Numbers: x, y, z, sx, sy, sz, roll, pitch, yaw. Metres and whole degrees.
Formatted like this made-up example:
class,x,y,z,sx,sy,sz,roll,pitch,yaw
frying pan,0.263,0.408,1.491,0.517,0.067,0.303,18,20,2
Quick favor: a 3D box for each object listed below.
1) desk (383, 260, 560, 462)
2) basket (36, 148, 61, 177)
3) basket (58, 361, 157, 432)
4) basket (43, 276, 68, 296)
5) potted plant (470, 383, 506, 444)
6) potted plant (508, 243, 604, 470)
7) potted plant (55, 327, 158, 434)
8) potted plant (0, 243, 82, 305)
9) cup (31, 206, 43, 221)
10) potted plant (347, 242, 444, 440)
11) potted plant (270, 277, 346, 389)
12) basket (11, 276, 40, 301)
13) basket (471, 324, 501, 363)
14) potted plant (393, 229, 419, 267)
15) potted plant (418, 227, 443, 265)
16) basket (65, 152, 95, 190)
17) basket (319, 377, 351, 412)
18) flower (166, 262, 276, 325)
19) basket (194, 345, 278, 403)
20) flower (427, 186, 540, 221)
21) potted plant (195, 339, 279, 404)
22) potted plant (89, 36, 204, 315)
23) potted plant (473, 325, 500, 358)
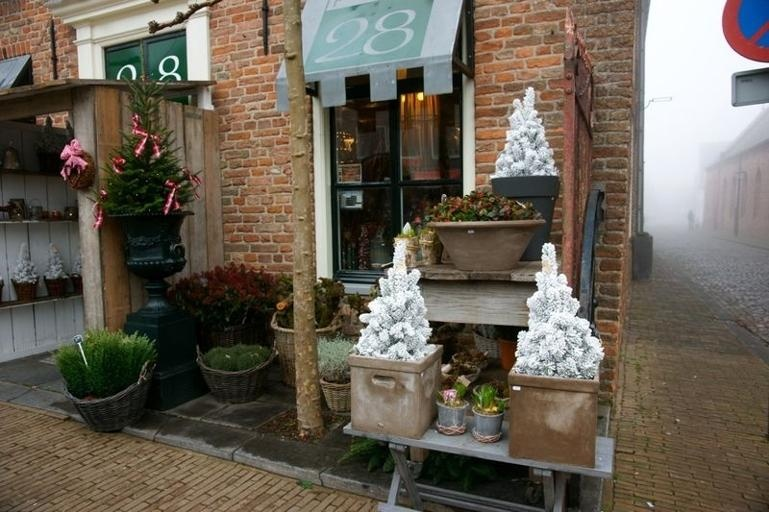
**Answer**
class,x,y,z,sx,sy,sz,roll,pitch,yaw
desk,0.907,0.875,5.576,1.841,1.907,1.423,0,-1,30
basket,-4.548,-1.268,7.873,0.320,0.371,0.355,2,2,-18
basket,-2.763,1.491,5.858,0.729,0.596,0.758,-6,-2,21
basket,-4.488,0.409,7.861,0.258,0.287,0.248,0,-4,1
potted plant,0.803,1.192,4.422,0.251,0.405,0.244,-1,7,8
potted plant,1.249,0.757,4.179,0.631,1.465,0.374,1,7,21
potted plant,-2.821,1.144,6.164,0.944,1.114,1.010,4,9,29
potted plant,-4.592,0.192,7.810,0.313,0.772,0.811,4,9,41
cup,-4.632,-0.574,7.667,0.176,0.192,0.177,0,1,0
potted plant,0.075,0.630,4.483,0.729,1.474,0.403,-1,7,4
potted plant,-0.749,0.811,6.876,0.956,1.005,1.151,1,-8,5
basket,-4.713,0.414,7.568,0.306,0.313,0.294,1,1,-22
basket,1.139,0.958,6.483,0.311,0.234,0.344,-2,3,-41
potted plant,0.251,-0.071,5.474,0.273,0.294,0.274,-1,1,34
potted plant,0.438,-0.103,5.502,0.300,0.436,0.291,2,9,11
basket,-3.281,-0.916,6.183,0.281,0.383,0.124,4,6,7
basket,-0.500,1.449,5.949,0.365,0.290,0.379,0,-4,4
flower,-1.912,0.476,7.080,1.181,0.731,1.434,7,7,37
basket,-1.616,1.294,6.318,0.831,0.583,0.432,-4,7,-15
flower,0.859,-0.442,5.034,0.954,0.259,0.381,0,7,14
potted plant,-1.678,1.221,6.317,0.648,0.460,0.660,3,3,44
potted plant,-2.600,-0.688,6.422,0.859,2.595,0.893,0,7,14
potted plant,1.131,0.934,6.378,0.290,0.224,0.339,-1,-2,7
